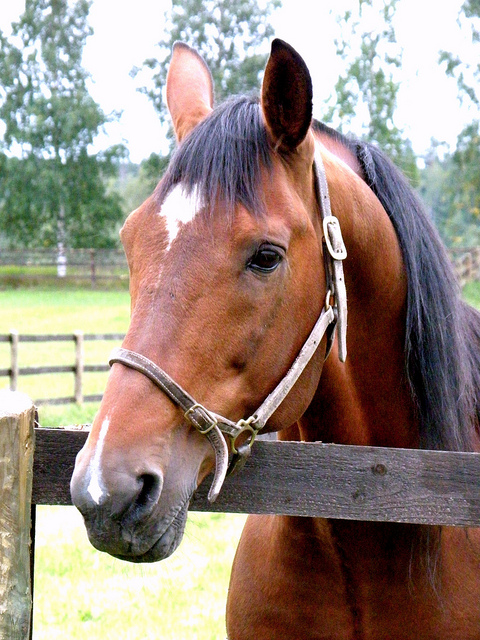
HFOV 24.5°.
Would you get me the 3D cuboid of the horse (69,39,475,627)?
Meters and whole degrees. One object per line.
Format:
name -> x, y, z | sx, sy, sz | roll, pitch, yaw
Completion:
horse -> 0.171, 0.135, 3.596 | 1.363, 1.925, 0.821 | 1, 1, -12
